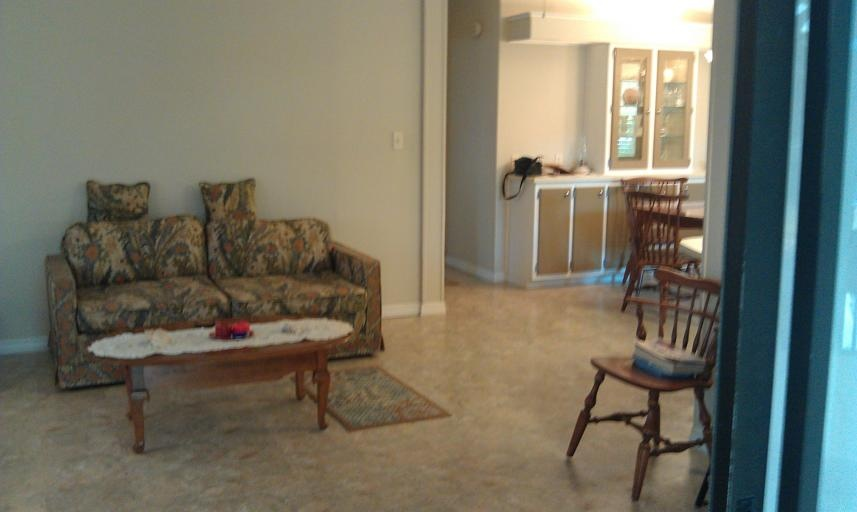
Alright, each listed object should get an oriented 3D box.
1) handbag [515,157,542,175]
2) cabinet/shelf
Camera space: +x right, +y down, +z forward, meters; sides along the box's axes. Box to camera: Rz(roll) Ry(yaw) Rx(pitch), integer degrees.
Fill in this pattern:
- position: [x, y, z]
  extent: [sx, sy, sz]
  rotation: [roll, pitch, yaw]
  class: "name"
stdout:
- position: [0.971, -0.885, 6.803]
  extent: [0.257, 0.183, 0.168]
  rotation: [-1, 12, 7]
  class: "handbag"
- position: [1.661, -0.886, 6.798]
  extent: [2.664, 2.724, 0.779]
  rotation: [-1, 3, -20]
  class: "cabinet/shelf"
